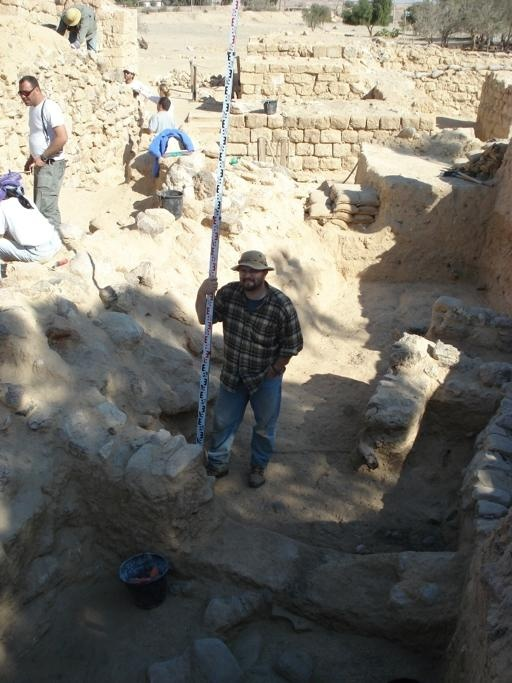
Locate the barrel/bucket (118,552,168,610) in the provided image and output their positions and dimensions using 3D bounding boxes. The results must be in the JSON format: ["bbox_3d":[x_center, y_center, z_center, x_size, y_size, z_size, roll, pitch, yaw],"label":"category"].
[{"bbox_3d":[-0.568,1.211,3.412,0.273,0.185,0.263,0,23,0],"label":"barrel/bucket"}]

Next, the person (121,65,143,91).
[{"bbox_3d":[-2.524,-5.241,13.449,0.372,0.370,1.014,5,22,-9],"label":"person"}]

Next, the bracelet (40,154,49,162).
[{"bbox_3d":[-1.963,-1.696,6.171,0.062,0.070,0.028,-1,13,3],"label":"bracelet"}]

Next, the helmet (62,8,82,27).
[{"bbox_3d":[-3.274,-5.752,11.818,0.321,0.318,0.458,2,24,-15],"label":"helmet"}]

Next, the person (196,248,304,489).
[{"bbox_3d":[-0.051,0.196,4.220,0.586,1.584,0.353,11,25,2],"label":"person"}]

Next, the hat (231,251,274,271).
[{"bbox_3d":[-0.011,-0.458,3.904,0.215,0.087,0.190,1,-2,11],"label":"hat"}]
